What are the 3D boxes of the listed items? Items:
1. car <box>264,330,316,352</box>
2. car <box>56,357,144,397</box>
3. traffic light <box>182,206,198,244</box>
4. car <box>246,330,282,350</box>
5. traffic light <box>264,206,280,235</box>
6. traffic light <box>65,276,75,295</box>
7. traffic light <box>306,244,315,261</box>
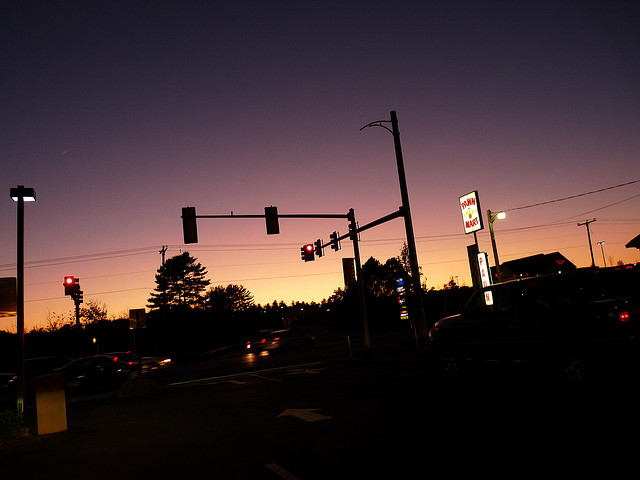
[{"bbox_3d":[-2.052,6.625,36.827,2.661,1.047,1.225,-4,-2,-32],"label":"car"},{"bbox_3d":[-9.152,5.452,22.605,3.337,1.230,1.460,-8,-6,23],"label":"car"},{"bbox_3d":[-4.451,-0.497,19.047,0.414,1.248,0.756,-3,-5,-16],"label":"traffic light"},{"bbox_3d":[-4.162,7.189,38.443,1.627,1.306,3.488,2,-5,-43],"label":"car"},{"bbox_3d":[-1.727,-0.712,19.971,0.465,1.135,1.835,-4,-6,-5],"label":"traffic light"},{"bbox_3d":[-12.460,2.306,27.841,0.403,0.871,0.702,-2,-6,-24],"label":"traffic light"},{"bbox_3d":[-0.453,0.580,25.396,0.253,0.671,0.477,-8,-6,38],"label":"traffic light"}]
